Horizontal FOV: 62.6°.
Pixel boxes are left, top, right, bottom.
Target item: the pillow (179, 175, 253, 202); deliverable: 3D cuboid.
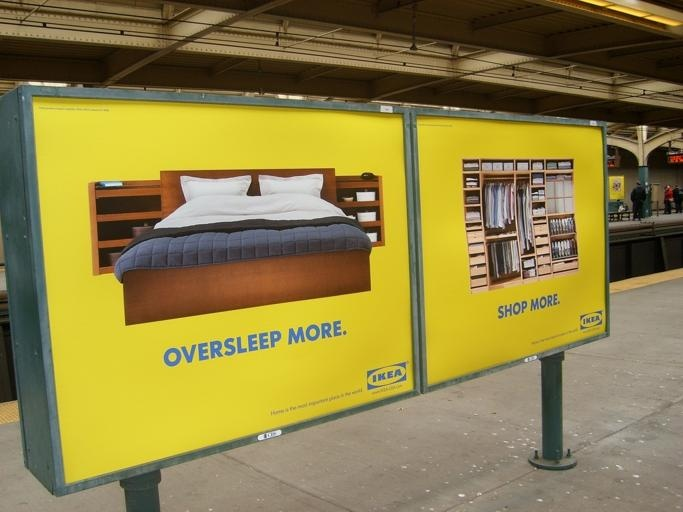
[{"bbox_3d":[-0.659,-0.370,2.998,0.385,0.129,0.051,-8,8,-38],"label":"pillow"}]
